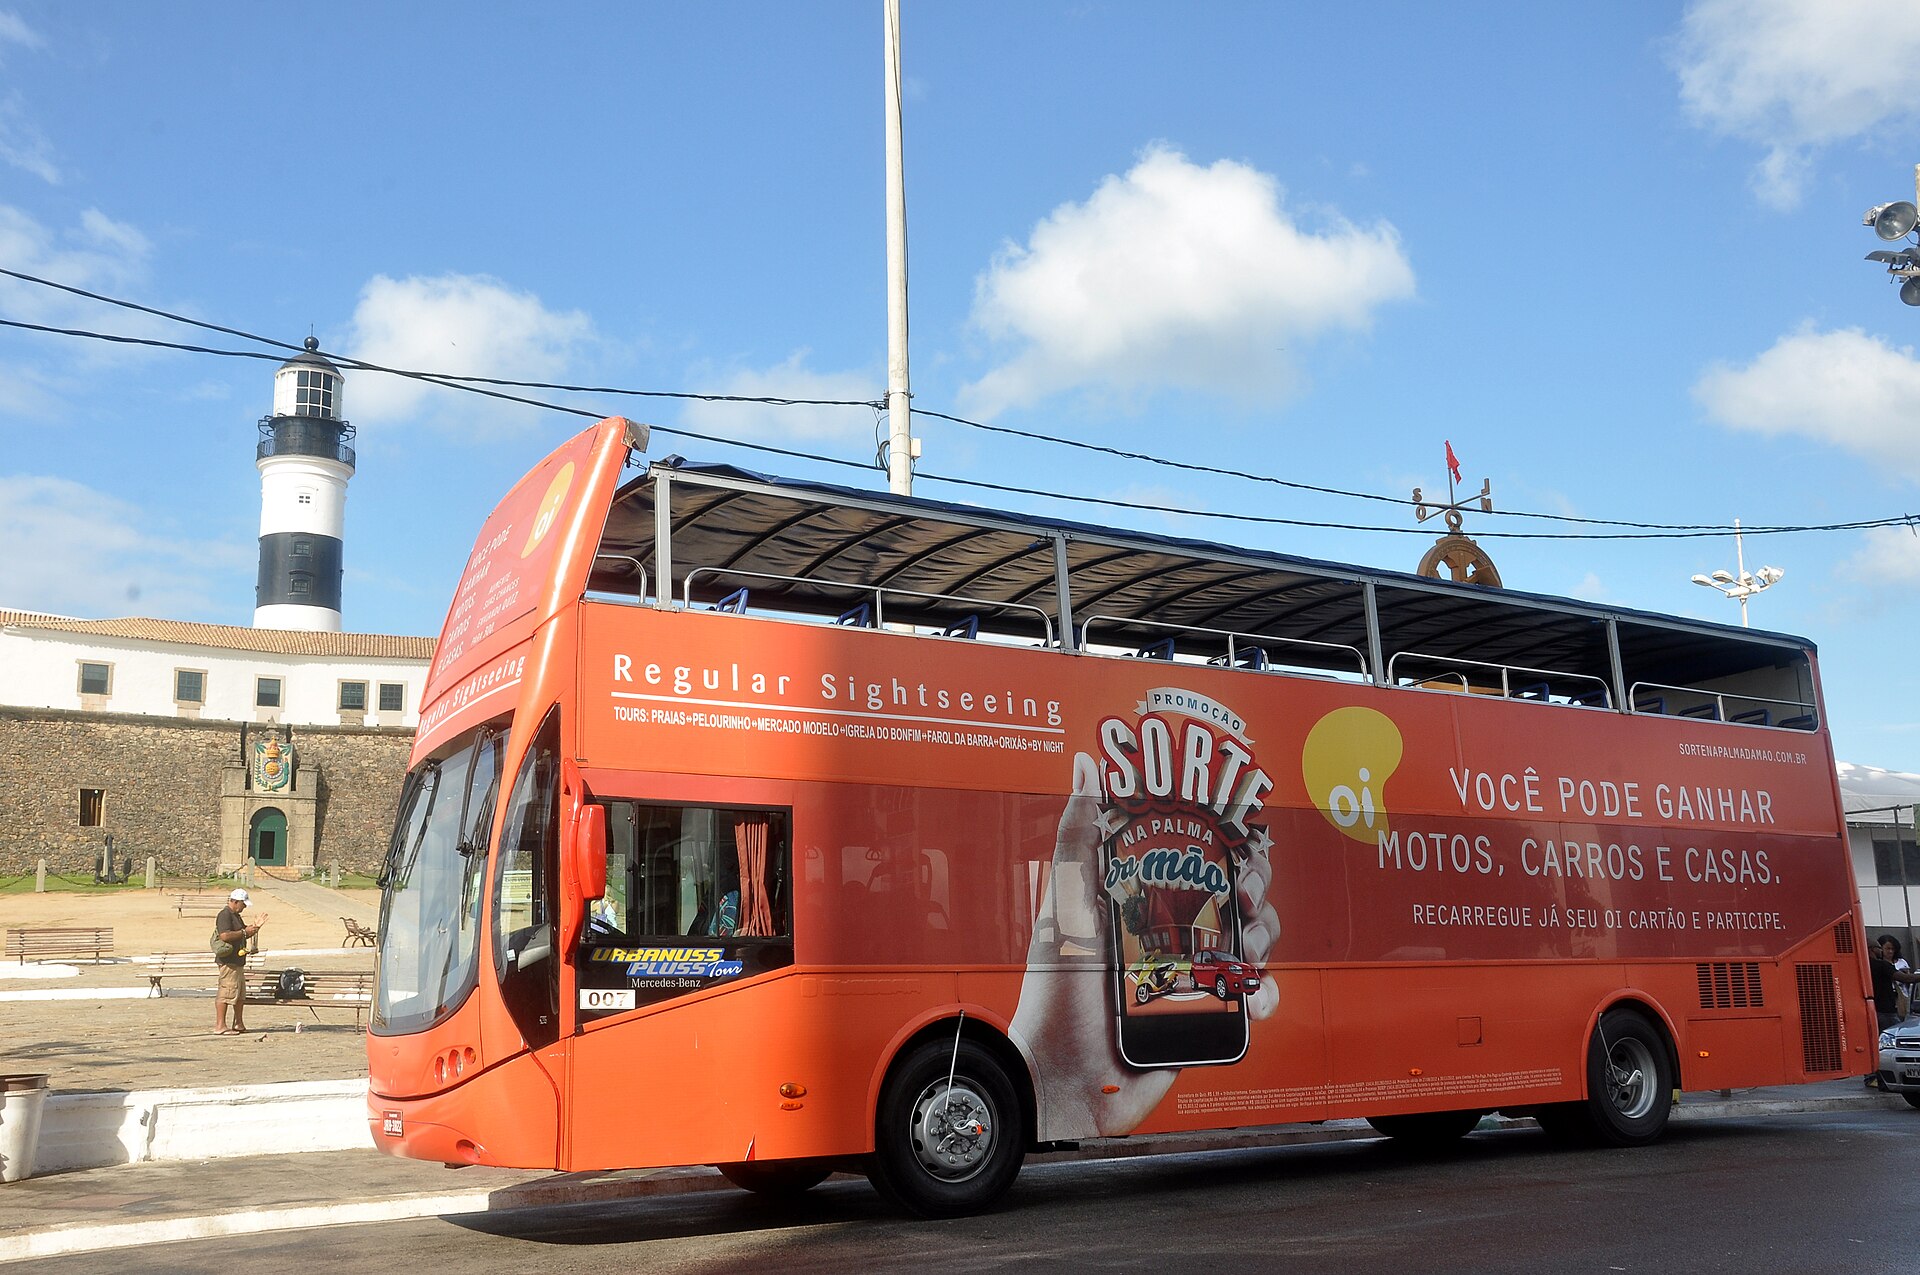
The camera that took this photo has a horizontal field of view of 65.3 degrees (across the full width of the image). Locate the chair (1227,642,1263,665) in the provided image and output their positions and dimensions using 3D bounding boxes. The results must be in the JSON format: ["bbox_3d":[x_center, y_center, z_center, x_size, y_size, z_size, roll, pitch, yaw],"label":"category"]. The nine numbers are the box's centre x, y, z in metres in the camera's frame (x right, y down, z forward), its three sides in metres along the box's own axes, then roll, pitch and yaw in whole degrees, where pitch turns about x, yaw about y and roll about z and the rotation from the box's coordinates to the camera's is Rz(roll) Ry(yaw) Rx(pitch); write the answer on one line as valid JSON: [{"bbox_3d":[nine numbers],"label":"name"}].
[{"bbox_3d":[3.127,0.188,16.339,0.274,0.154,0.381,0,-3,6],"label":"chair"}]
